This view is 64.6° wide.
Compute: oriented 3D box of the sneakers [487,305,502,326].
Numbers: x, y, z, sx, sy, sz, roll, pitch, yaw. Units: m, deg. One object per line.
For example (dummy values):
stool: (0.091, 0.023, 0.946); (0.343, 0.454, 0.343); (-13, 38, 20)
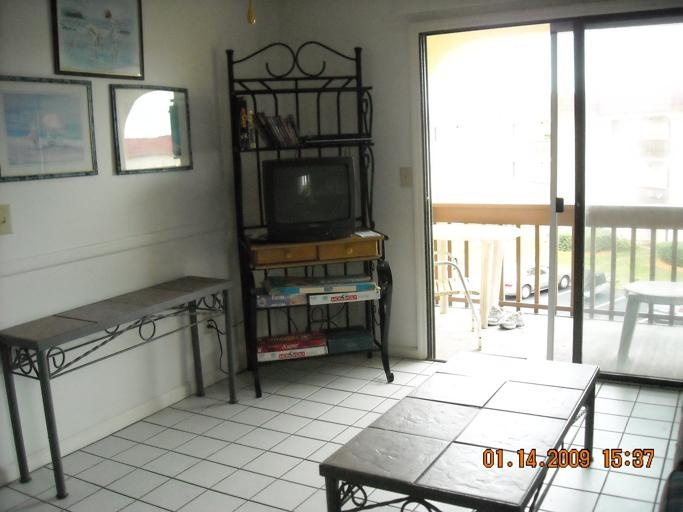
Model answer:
sneakers: (1.455, 0.563, 5.099); (0.123, 0.159, 0.152); (4, 15, 25)

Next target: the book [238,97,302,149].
book: (-0.510, -0.860, 3.688); (0.369, 0.378, 0.127); (-5, 6, -1)

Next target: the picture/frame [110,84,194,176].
picture/frame: (-1.219, -0.795, 3.386); (0.042, 0.579, 0.604); (6, 10, 34)

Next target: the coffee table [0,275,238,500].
coffee table: (-1.314, 0.766, 3.088); (0.314, 0.665, 0.987); (9, 17, 27)

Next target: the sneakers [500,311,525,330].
sneakers: (1.590, 0.606, 5.023); (0.110, 0.126, 0.277); (-1, 0, 43)
